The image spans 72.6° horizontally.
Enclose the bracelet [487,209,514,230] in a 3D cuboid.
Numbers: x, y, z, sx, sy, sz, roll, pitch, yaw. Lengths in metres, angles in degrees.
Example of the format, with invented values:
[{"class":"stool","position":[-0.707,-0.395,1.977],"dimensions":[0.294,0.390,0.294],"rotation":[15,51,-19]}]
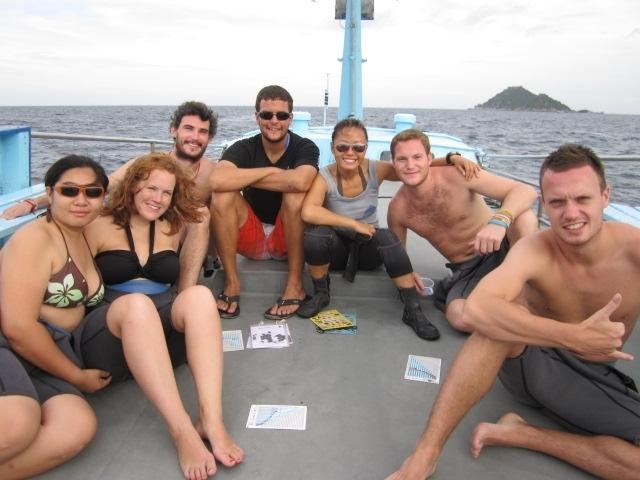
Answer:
[{"class":"bracelet","position":[1.370,-0.150,3.335],"dimensions":[0.140,0.115,0.162],"rotation":[37,-16,-17]}]

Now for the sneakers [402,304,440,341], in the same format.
[{"class":"sneakers","position":[0.831,0.636,3.555],"dimensions":[0.147,0.228,0.371],"rotation":[-27,22,-19]}]

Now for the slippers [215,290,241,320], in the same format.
[{"class":"slippers","position":[-0.753,0.543,3.604],"dimensions":[0.192,0.107,0.472],"rotation":[0,9,-4]}]

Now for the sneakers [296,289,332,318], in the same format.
[{"class":"sneakers","position":[-0.054,0.542,3.725],"dimensions":[0.132,0.154,0.384],"rotation":[22,11,24]}]
